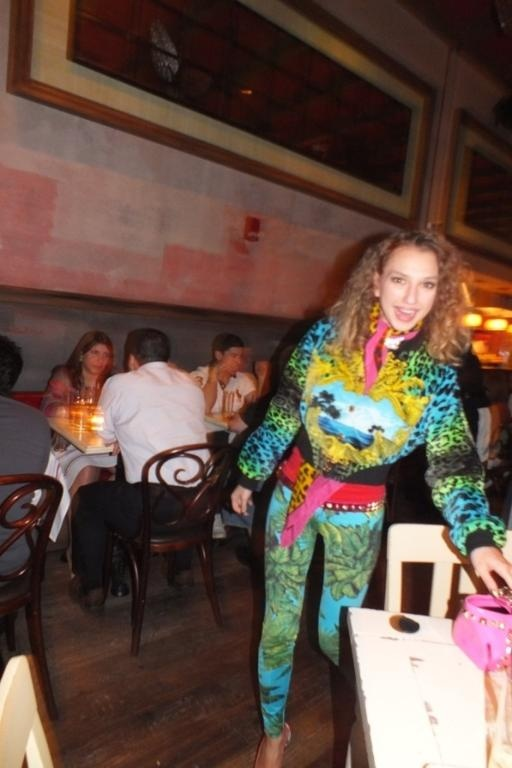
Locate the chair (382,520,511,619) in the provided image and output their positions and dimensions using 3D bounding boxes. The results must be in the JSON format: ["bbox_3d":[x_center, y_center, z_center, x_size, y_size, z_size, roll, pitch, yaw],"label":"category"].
[{"bbox_3d":[0.423,0.445,1.293,0.306,0.236,0.186,5,6,-13],"label":"chair"}]

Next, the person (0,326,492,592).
[{"bbox_3d":[-0.118,0.298,1.843,1.312,0.629,0.491,6,24,3],"label":"person"}]
